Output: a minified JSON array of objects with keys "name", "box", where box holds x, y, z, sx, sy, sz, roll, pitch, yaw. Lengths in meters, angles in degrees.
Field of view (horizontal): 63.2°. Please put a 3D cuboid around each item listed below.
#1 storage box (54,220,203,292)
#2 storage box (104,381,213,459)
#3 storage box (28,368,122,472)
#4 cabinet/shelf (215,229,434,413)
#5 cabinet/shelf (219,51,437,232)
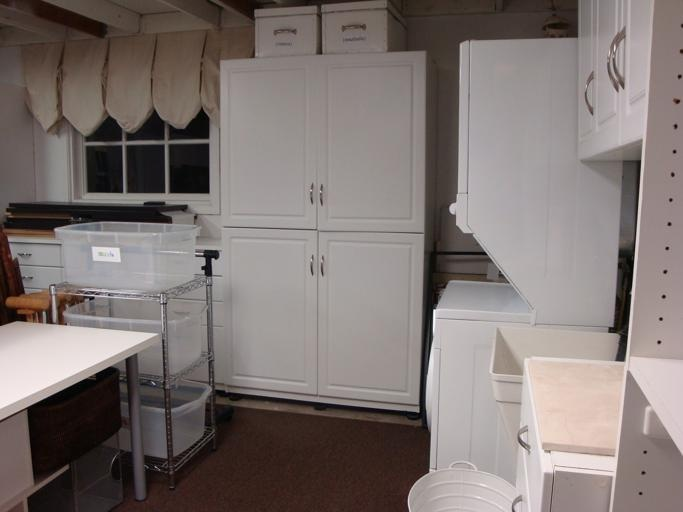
[{"name":"storage box","box":[-1.075,-0.011,2.839,0.617,0.311,0.327,3,13,10]},{"name":"storage box","box":[-0.981,0.840,2.988,0.453,0.179,0.394,0,-1,18]},{"name":"storage box","box":[-1.105,0.661,2.278,0.166,0.317,0.520,1,8,12]},{"name":"cabinet/shelf","box":[-0.060,0.382,3.485,1.029,0.972,0.420,1,4,14]},{"name":"cabinet/shelf","box":[-0.055,-0.717,3.380,0.990,0.905,0.400,2,6,14]}]
